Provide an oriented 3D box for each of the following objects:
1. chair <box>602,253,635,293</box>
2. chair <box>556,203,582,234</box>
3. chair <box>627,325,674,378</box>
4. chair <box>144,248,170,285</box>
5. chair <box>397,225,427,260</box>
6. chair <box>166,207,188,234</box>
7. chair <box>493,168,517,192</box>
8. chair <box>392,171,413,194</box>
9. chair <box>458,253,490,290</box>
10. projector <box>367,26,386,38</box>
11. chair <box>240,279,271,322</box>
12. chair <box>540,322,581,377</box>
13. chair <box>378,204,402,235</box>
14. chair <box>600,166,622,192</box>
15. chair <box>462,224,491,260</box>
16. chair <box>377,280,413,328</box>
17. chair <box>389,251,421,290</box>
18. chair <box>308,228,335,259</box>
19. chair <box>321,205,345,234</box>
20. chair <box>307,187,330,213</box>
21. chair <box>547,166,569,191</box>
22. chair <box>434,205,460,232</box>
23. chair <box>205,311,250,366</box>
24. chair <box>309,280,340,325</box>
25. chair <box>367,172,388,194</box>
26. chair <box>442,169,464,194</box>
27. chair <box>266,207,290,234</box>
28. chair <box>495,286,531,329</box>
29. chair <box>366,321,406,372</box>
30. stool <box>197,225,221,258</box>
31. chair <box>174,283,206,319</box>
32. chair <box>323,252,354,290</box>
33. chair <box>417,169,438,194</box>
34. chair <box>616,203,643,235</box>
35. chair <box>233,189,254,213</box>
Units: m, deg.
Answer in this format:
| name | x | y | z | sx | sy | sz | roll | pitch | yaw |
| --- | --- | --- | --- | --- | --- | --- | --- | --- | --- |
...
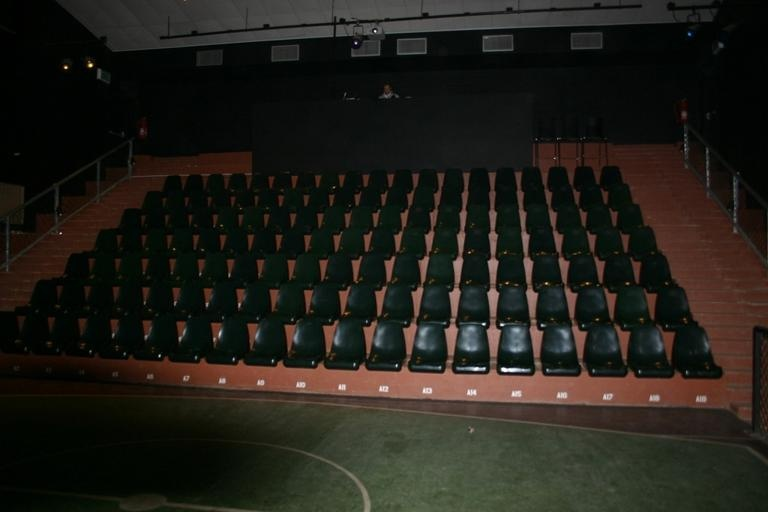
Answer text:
| name | x | y | z | sx | sy | sz | roll | pitch | yaw |
| --- | --- | --- | --- | --- | --- | --- | --- | --- | --- |
| chair | 2.927 | 0.210 | 7.098 | 0.402 | 0.426 | 0.389 | 2 | 4 | 16 |
| chair | 2.563 | -0.505 | 7.807 | 0.379 | 0.435 | 0.362 | 3 | -3 | 10 |
| chair | 2.952 | 1.056 | 6.286 | 0.450 | 0.531 | 0.529 | 0 | -5 | 8 |
| chair | -3.140 | 0.130 | 7.762 | 0.352 | 0.244 | 0.424 | -9 | 36 | -12 |
| chair | 0.385 | -0.182 | 7.639 | 0.386 | 0.411 | 0.364 | 2 | -2 | 7 |
| chair | -3.154 | -0.535 | 8.624 | 0.361 | 0.379 | 0.341 | 1 | -9 | -2 |
| chair | 1.877 | -1.174 | 8.672 | 0.322 | 0.501 | 0.395 | 1 | 0 | 10 |
| chair | 0.289 | -1.197 | 8.958 | 0.302 | 0.467 | 0.380 | 1 | -6 | 7 |
| chair | 1.173 | 0.186 | 7.304 | 0.511 | 0.626 | 0.339 | 1 | 0 | 11 |
| projector | -0.121 | -4.243 | 10.691 | 0.306 | 0.353 | 0.118 | 5 | -16 | 2 |
| chair | -1.604 | 0.575 | 7.100 | 0.410 | 0.480 | 0.409 | 3 | -4 | 0 |
| chair | 1.974 | 1.053 | 6.316 | 0.406 | 0.338 | 0.469 | 3 | 35 | 5 |
| chair | 0.085 | -0.509 | 8.031 | 0.313 | 0.466 | 0.380 | 2 | 5 | 5 |
| chair | 3.448 | -1.185 | 8.569 | 0.384 | 0.453 | 0.384 | 2 | 5 | 19 |
| chair | 1.227 | -0.202 | 7.514 | 0.451 | 0.677 | 0.349 | 0 | -4 | 13 |
| chair | 0.155 | 0.588 | 6.919 | 0.446 | 0.472 | 0.403 | 2 | -4 | 5 |
| chair | 0.289 | 0.186 | 7.268 | 0.403 | 0.427 | 0.370 | 2 | -2 | 6 |
| chair | -0.863 | -0.174 | 7.786 | 0.294 | 0.395 | 0.407 | 4 | 39 | 2 |
| chair | -0.707 | -0.523 | 8.179 | 0.328 | 0.351 | 0.348 | 1 | -15 | 7 |
| chair | -1.005 | -0.861 | 8.701 | 0.351 | 0.355 | 0.368 | 1 | -1 | 30 |
| chair | 2.694 | -1.190 | 8.684 | 0.337 | 0.484 | 0.398 | 0 | -9 | 10 |
| chair | 0.907 | -0.520 | 8.042 | 0.302 | 0.449 | 0.373 | 2 | -5 | 9 |
| chair | -1.853 | 0.996 | 6.722 | 0.466 | 0.338 | 0.516 | 0 | 35 | 1 |
| chair | -0.734 | 0.583 | 6.968 | 0.416 | 0.471 | 0.398 | 3 | -2 | 5 |
| chair | -0.101 | -1.199 | 8.942 | 0.356 | 0.414 | 0.333 | 1 | -11 | 5 |
| chair | 1.076 | -1.191 | 8.801 | 0.285 | 0.424 | 0.409 | 1 | 3 | 14 |
| chair | -1.559 | -0.525 | 8.220 | 0.346 | 0.376 | 0.168 | 3 | -14 | -2 |
| chair | 1.530 | 0.608 | 6.812 | 0.377 | 0.477 | 0.411 | 0 | -5 | 6 |
| chair | 0.056 | 1.029 | 6.575 | 0.507 | 0.556 | 0.459 | 2 | -5 | 6 |
| stool | -2.496 | -0.233 | 8.049 | 0.350 | 0.361 | 0.366 | -1 | -1 | -5 |
| chair | -2.481 | 0.580 | 7.237 | 0.397 | 0.473 | 0.388 | 1 | -3 | -7 |
| chair | -0.591 | 0.182 | 7.365 | 0.311 | 0.467 | 0.415 | 2 | -8 | 5 |
| chair | 0.687 | -1.181 | 8.834 | 0.322 | 0.478 | 0.386 | 0 | -2 | 11 |
| chair | 3.391 | -0.527 | 7.768 | 0.391 | 0.411 | 0.394 | 2 | 7 | 10 |
| chair | -2.243 | -0.878 | 8.992 | 0.304 | 0.317 | 0.320 | 3 | 2 | 30 |
